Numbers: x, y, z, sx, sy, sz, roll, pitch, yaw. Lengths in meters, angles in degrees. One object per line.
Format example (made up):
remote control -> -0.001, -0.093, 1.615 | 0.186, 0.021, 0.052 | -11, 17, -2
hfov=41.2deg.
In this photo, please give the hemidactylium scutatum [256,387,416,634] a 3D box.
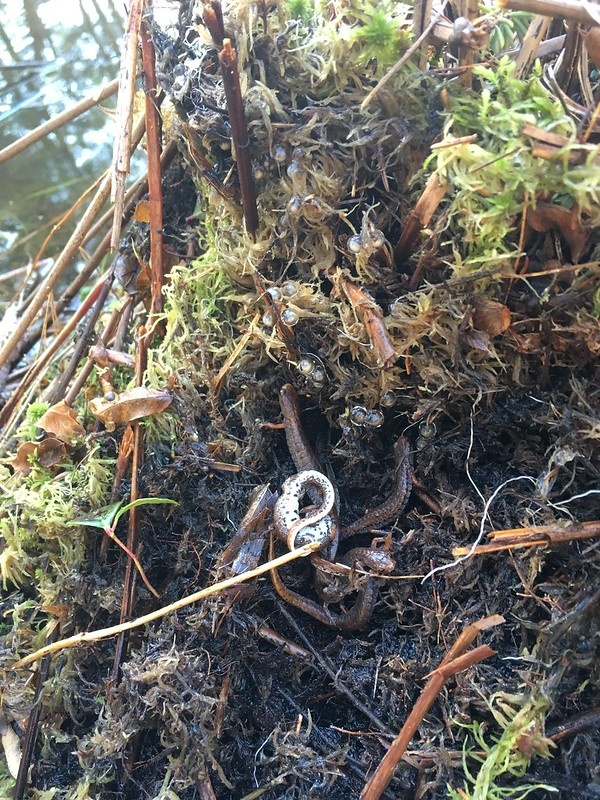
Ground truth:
hemidactylium scutatum -> 0.062, 0.152, 1.165 | 0.188, 0.282, 0.267 | -4, 36, 24
